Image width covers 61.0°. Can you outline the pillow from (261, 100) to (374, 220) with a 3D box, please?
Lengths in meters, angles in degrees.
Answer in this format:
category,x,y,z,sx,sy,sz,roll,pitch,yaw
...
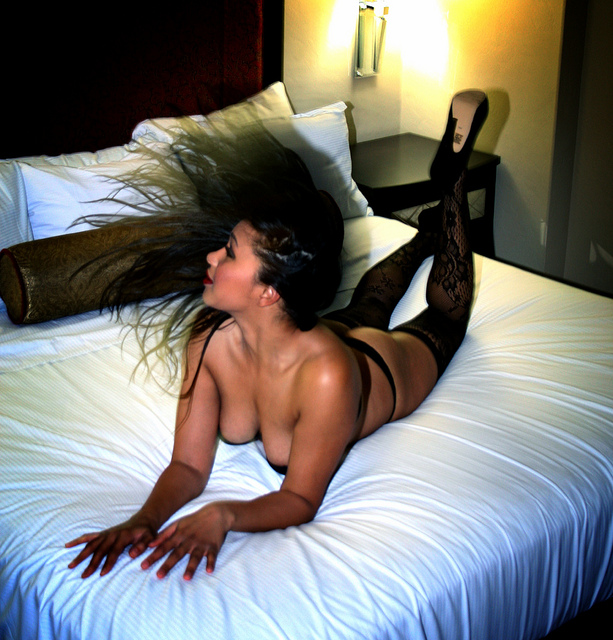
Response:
category,x,y,z,sx,sy,sz,roll,pitch,yaw
pillow,-0.037,-0.644,2.437,0.628,0.565,0.176,-16,6,-37

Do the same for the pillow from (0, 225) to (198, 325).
category,x,y,z,sx,sy,sz,roll,pitch,yaw
pillow,-0.811,-0.186,1.834,0.742,0.288,0.292,-9,22,-17

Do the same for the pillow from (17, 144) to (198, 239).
category,x,y,z,sx,sy,sz,roll,pitch,yaw
pillow,-0.622,-0.379,1.666,0.516,0.143,0.415,-17,41,0
